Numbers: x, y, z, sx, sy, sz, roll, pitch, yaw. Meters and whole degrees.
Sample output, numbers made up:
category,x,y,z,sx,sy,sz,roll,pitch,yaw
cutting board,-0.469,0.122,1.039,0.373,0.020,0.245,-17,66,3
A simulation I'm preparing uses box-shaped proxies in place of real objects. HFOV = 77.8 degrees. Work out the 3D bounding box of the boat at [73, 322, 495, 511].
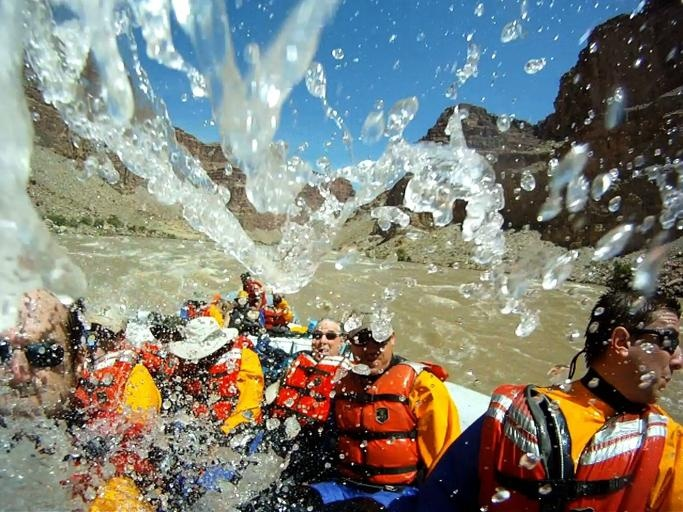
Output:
category,x,y,z,sx,sy,sz,roll,pitch,yaw
boat,-0.418,1.332,3.546,2.018,0.816,2.046,2,-8,7

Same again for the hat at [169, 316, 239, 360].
category,x,y,z,sx,sy,sz,roll,pitch,yaw
hat,-1.298,0.789,4.060,0.448,0.166,0.439,-26,29,-37

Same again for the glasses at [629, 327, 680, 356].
category,x,y,z,sx,sy,sz,roll,pitch,yaw
glasses,1.894,0.486,2.503,0.154,0.193,0.081,1,48,22
